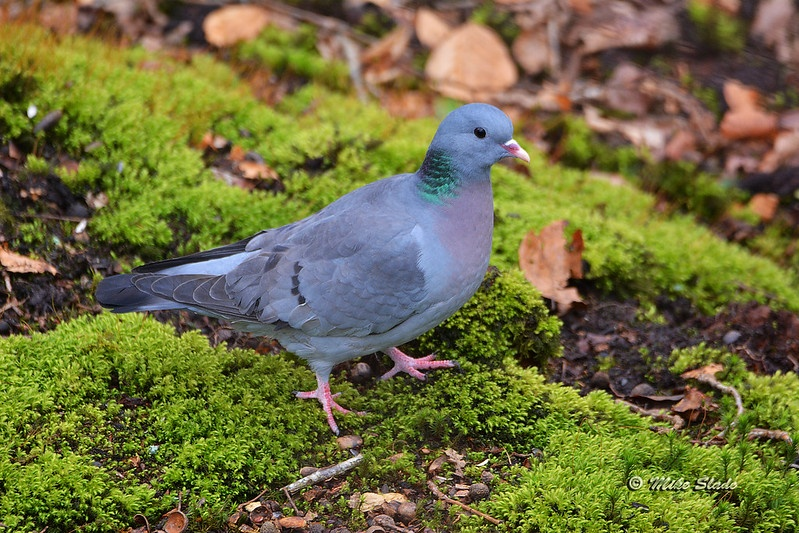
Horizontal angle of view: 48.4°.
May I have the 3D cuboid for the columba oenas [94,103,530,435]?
[{"bbox_3d":[-0.760,-0.180,7.508,3.671,2.584,1.495,5,26,8],"label":"columba oenas"}]
